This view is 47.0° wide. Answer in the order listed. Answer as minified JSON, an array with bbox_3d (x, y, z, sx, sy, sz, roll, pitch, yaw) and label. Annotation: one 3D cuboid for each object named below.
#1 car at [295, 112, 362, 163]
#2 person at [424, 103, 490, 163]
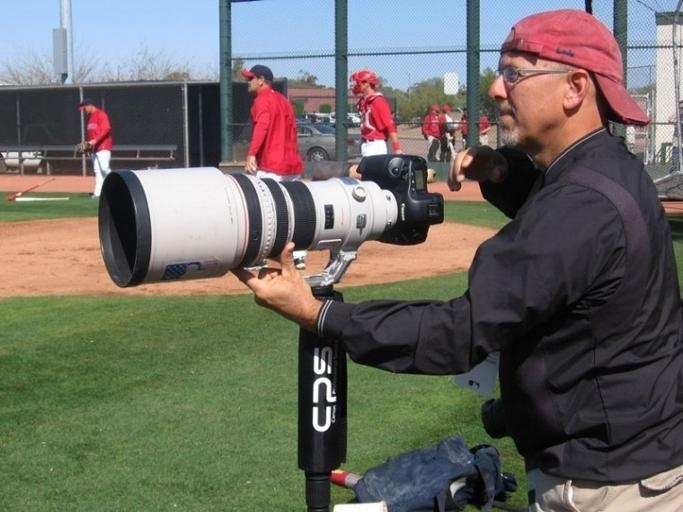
[{"bbox_3d":[-0.491,-2.703,18.372,1.833,0.671,0.825,-2,8,3],"label":"car"},{"bbox_3d":[2.447,-2.615,16.535,0.553,1.525,1.468,-3,-1,-29],"label":"person"}]
